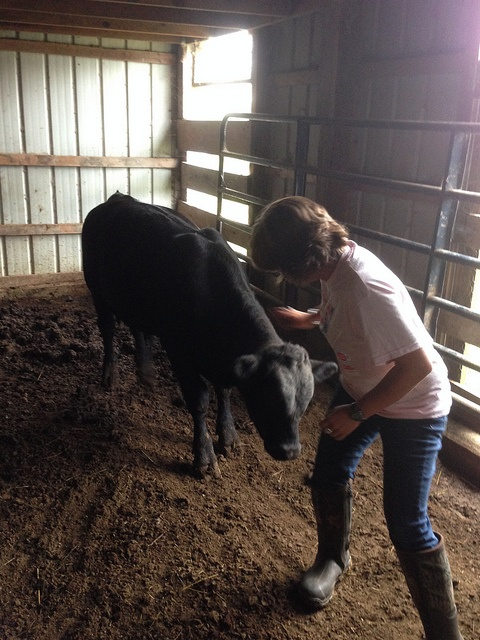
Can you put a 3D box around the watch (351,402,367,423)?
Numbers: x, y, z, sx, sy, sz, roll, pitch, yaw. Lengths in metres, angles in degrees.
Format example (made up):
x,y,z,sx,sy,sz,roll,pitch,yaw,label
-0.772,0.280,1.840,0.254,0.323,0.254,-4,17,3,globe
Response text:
x,y,z,sx,sy,sz,roll,pitch,yaw,label
0.310,0.245,1.240,0.046,0.060,0.033,15,-26,-32,watch

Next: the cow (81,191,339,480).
x,y,z,sx,sy,sz,roll,pitch,yaw,label
-0.331,0.053,2.709,0.554,1.239,2.002,-8,27,-37,cow

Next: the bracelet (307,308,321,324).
x,y,z,sx,sy,sz,roll,pitch,yaw,label
0.301,-0.019,1.863,0.041,0.066,0.021,2,-1,26,bracelet
